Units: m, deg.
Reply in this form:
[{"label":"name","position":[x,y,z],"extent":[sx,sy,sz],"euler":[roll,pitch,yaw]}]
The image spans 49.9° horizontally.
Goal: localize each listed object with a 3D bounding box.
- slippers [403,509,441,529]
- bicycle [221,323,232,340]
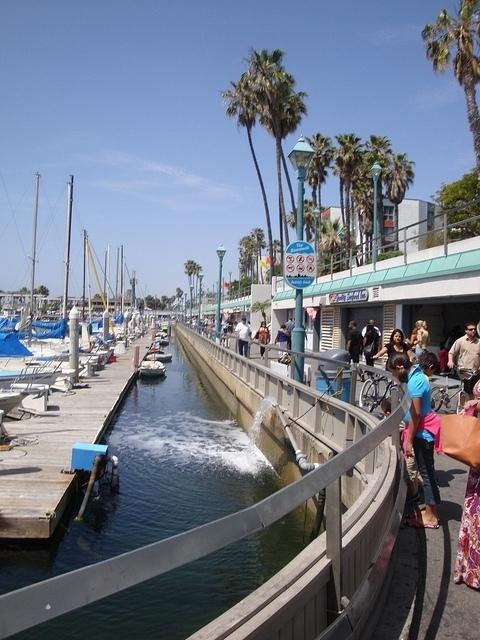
[{"label":"slippers","position":[1.658,1.830,4.740],"extent":[0.262,0.137,0.164],"euler":[5,3,19]},{"label":"bicycle","position":[-0.978,0.756,34.951],"extent":[0.563,0.915,2.117],"euler":[1,-17,-5]}]
